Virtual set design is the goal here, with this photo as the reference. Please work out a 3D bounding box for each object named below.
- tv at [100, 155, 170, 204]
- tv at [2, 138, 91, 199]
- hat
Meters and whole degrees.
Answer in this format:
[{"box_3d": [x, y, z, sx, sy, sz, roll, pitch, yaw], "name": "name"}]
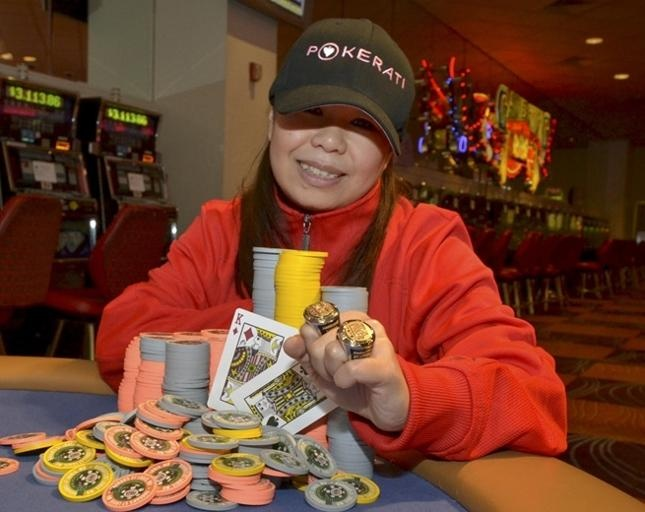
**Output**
[{"box_3d": [-1.863, -0.747, 4.864, 0.667, 0.435, 0.090, 6, -28, -29], "name": "tv"}, {"box_3d": [-2.389, -0.743, 4.351, 0.245, 0.424, 0.746, 4, 2, 15], "name": "tv"}, {"box_3d": [0.051, -0.405, 1.159, 0.340, 0.212, 0.205, 3, 2, -7], "name": "hat"}]
